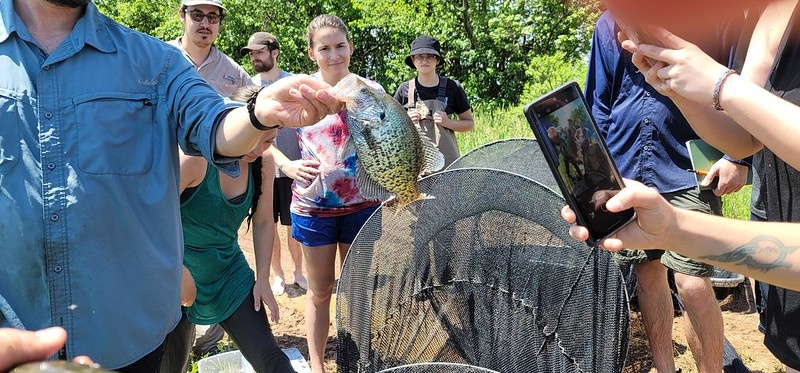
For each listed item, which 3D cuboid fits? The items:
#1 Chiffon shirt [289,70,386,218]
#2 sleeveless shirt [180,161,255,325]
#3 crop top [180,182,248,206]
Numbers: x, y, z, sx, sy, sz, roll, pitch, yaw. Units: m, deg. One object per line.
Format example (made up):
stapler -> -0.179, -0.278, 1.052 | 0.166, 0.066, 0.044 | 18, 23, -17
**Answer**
Chiffon shirt -> -0.279, -0.348, 6.072 | 0.346, 1.506, 0.674 | -20, -25, 31
sleeveless shirt -> -1.551, 0.445, 5.683 | 0.513, 1.468, 0.645 | 0, 1, -1
crop top -> -1.574, 0.056, 5.501 | 0.309, 0.206, 0.552 | 1, 4, -7
